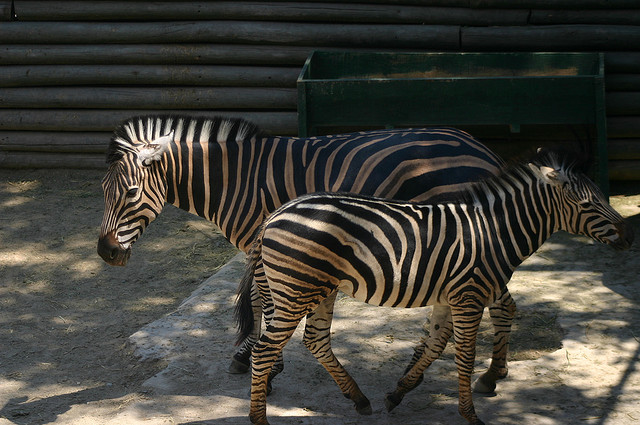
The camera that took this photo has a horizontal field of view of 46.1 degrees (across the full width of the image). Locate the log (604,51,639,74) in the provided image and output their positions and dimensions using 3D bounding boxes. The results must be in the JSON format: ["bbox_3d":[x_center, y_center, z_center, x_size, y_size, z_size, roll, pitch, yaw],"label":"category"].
[{"bbox_3d":[3.700,-1.841,9.230,0.464,0.268,0.167,4,9,5],"label":"log"}]

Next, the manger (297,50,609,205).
[{"bbox_3d":[1.633,-1.242,9.297,4.827,1.778,2.070,2,19,8],"label":"manger"}]
